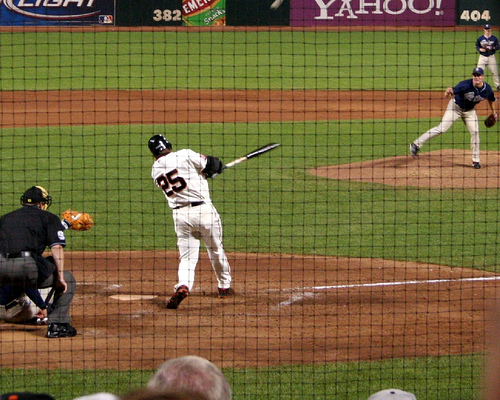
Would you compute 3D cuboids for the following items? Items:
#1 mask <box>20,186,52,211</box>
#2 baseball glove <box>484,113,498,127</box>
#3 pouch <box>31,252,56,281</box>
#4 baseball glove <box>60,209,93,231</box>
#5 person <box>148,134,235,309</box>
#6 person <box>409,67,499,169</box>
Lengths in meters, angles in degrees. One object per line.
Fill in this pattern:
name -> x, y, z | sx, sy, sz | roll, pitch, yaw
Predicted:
mask -> -3.383, -0.049, 15.596 | 0.343, 0.247, 0.474 | 12, 16, 20
baseball glove -> 5.287, -1.713, 21.348 | 0.122, 0.317, 0.179 | 6, 52, -26
pouch -> -3.228, 1.035, 15.261 | 0.322, 0.390, 0.173 | 27, 12, 16
baseball glove -> -2.867, 0.330, 16.188 | 0.442, 0.189, 0.325 | 19, 5, 16
person -> -0.951, 0.343, 16.383 | 1.317, 2.773, 1.024 | -2, 12, -6
person -> 4.536, -1.744, 21.387 | 1.618, 2.240, 0.803 | 4, 13, 24
